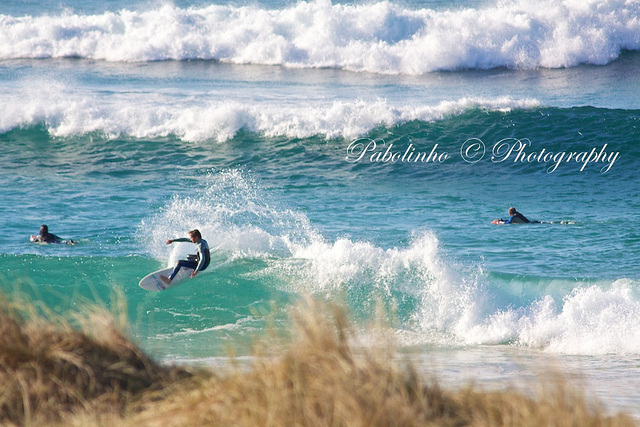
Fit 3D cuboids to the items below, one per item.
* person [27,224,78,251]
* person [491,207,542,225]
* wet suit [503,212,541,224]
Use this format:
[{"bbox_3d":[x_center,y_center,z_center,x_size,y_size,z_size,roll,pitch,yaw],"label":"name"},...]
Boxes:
[{"bbox_3d":[-13.108,1.318,54.428,1.842,0.747,1.311,9,-1,3],"label":"person"},{"bbox_3d":[10.077,0.195,56.368,2.381,0.904,0.522,5,3,-2],"label":"person"},{"bbox_3d":[10.364,0.174,56.321,1.787,0.605,0.715,1,2,15],"label":"wet suit"}]
